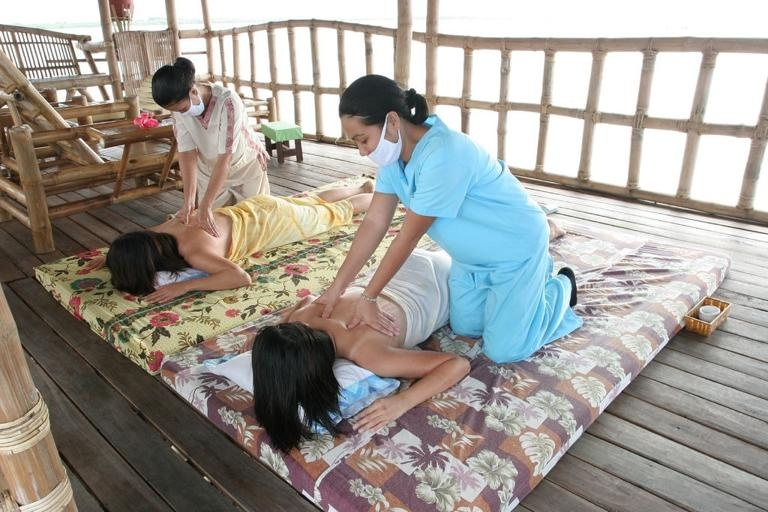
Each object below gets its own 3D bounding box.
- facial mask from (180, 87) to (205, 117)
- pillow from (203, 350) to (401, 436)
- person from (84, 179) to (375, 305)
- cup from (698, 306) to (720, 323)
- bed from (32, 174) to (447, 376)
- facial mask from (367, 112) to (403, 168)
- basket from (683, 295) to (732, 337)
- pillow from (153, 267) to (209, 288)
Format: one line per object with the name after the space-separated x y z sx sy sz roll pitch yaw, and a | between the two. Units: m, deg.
-1.309 -1.058 3.158 0.159 0.146 0.110 8 13 39 | facial mask
-0.370 0.513 1.986 0.633 0.096 0.373 16 25 31 | pillow
-0.806 -0.144 3.007 1.628 0.304 0.788 -17 32 -39 | person
1.744 0.313 2.500 0.106 0.062 0.102 -8 26 4 | cup
-0.793 0.051 2.603 1.676 0.108 0.940 -17 29 -35 | bed
0.042 -0.466 1.927 0.116 0.155 0.155 11 4 -26 | facial mask
1.797 0.310 2.532 0.355 0.088 0.177 -26 36 -38 | basket
-1.198 0.118 2.683 0.137 0.043 0.177 21 29 40 | pillow
